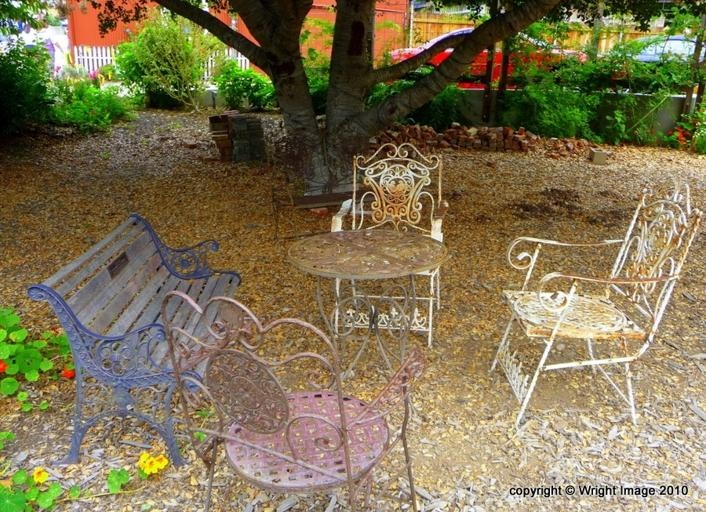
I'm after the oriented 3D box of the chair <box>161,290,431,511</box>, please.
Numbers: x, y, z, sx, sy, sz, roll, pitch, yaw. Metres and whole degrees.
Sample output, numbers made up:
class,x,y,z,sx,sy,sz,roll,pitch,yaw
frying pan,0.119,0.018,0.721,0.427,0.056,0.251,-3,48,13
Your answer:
class,x,y,z,sx,sy,sz,roll,pitch,yaw
chair,-0.303,0.775,2.377,1.013,1.089,0.632,11,37,15

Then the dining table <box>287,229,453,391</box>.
class,x,y,z,sx,sy,sz,roll,pitch,yaw
dining table,0.087,0.231,3.436,1.404,1.164,1.126,-5,31,-6
